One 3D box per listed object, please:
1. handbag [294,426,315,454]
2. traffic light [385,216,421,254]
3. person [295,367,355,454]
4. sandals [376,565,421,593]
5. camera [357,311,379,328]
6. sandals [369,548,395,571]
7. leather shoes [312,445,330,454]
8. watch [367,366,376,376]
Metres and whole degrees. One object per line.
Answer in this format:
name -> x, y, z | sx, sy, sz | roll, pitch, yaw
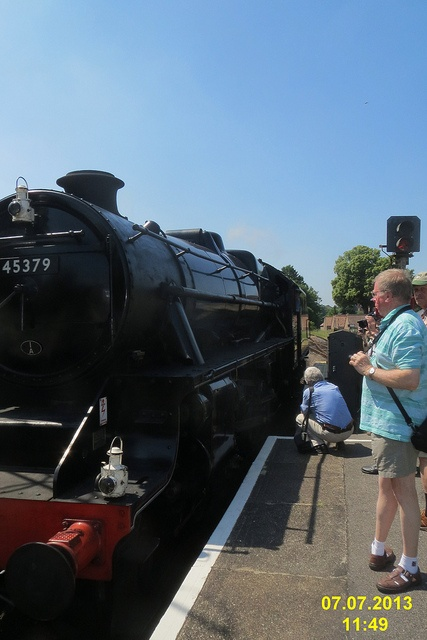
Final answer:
handbag -> 1.018, 1.383, 5.496 | 0.277, 0.258, 0.201 | -2, -2, 28
traffic light -> 2.423, -1.086, 6.204 | 0.389, 0.427, 0.175 | -2, -1, 26
person -> 1.357, 1.063, 5.789 | 0.661, 0.940, 0.673 | -10, 4, -27
sandals -> 1.002, 1.399, 2.626 | 0.243, 0.104, 0.104 | 7, -20, -24
camera -> 1.048, 0.000, 3.347 | 0.132, 0.127, 0.046 | -30, 37, -32
sandals -> 0.982, 1.410, 2.826 | 0.078, 0.086, 0.196 | -2, 0, 30
leather shoes -> 1.211, 1.450, 5.435 | 0.109, 0.120, 0.139 | 1, -15, -2
watch -> 0.884, 0.286, 2.694 | 0.032, 0.050, 0.048 | 7, -29, 33
